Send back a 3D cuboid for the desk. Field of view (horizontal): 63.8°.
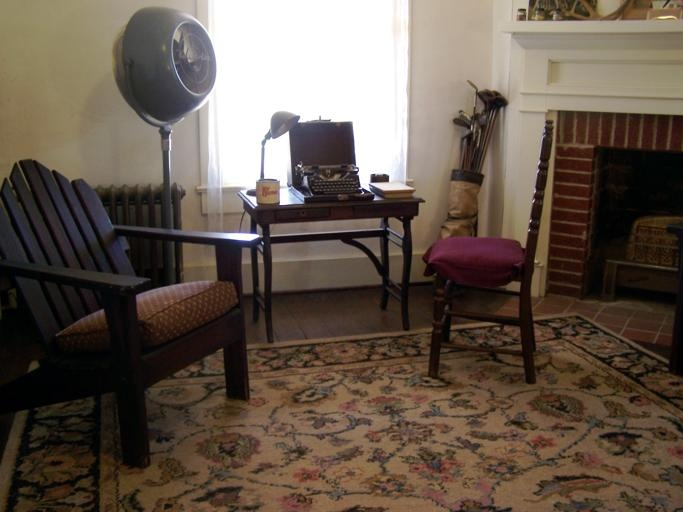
[{"bbox_3d":[-0.062,0.039,3.423,1.059,0.720,0.463,-4,9,-22],"label":"desk"}]

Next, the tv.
[{"bbox_3d":[-0.121,-0.624,3.374,0.472,0.386,0.101,-2,0,-13],"label":"tv"}]

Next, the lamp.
[{"bbox_3d":[-0.425,-0.626,3.370,0.344,0.500,0.682,-4,15,-9],"label":"lamp"}]

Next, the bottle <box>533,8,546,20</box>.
[{"bbox_3d":[1.292,-1.574,3.565,0.068,0.081,0.075,2,16,15],"label":"bottle"}]

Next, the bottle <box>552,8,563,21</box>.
[{"bbox_3d":[1.398,-1.562,3.548,0.059,0.071,0.065,2,16,15],"label":"bottle"}]
